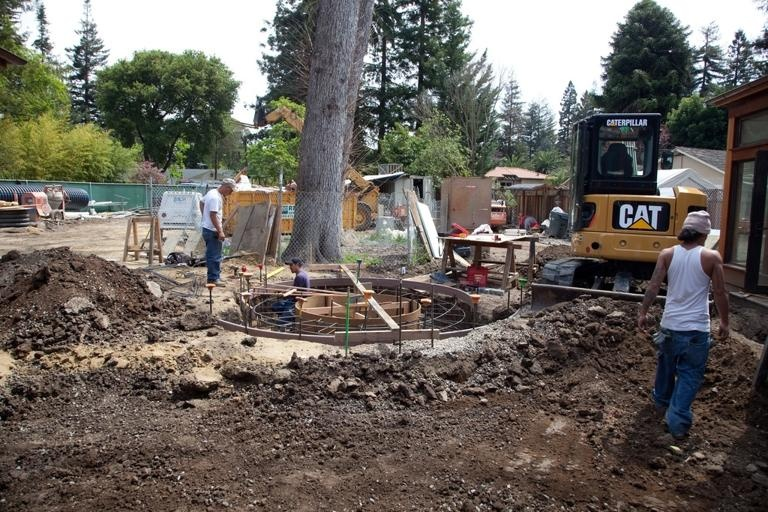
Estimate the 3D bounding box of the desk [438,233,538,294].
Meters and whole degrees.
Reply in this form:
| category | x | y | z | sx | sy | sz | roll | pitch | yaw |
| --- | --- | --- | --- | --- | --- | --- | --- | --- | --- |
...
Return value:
| category | x | y | z | sx | sy | sz | roll | pitch | yaw |
| --- | --- | --- | --- | --- | --- | --- | --- | --- | --- |
| desk | 2.309 | -0.070 | 14.553 | 1.569 | 1.047 | 1.601 | 1 | 1 | 42 |

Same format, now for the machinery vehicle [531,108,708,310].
| category | x | y | z | sx | sy | sz | roll | pitch | yaw |
| --- | --- | --- | --- | --- | --- | --- | --- | --- | --- |
| machinery vehicle | 4.229 | -0.785 | 11.414 | 3.046 | 3.247 | 2.101 | 4 | -5 | 23 |

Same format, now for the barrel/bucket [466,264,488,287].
| category | x | y | z | sx | sy | sz | roll | pitch | yaw |
| --- | --- | --- | --- | --- | --- | --- | --- | --- | --- |
| barrel/bucket | 2.026 | 0.448 | 14.212 | 0.423 | 0.450 | 0.761 | 3 | 5 | 17 |

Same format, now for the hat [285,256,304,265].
| category | x | y | z | sx | sy | sz | roll | pitch | yaw |
| --- | --- | --- | --- | --- | --- | --- | --- | --- | --- |
| hat | -2.071 | 0.083 | 14.753 | 0.378 | 0.137 | 0.428 | 1 | -1 | -2 |

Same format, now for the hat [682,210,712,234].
| category | x | y | z | sx | sy | sz | roll | pitch | yaw |
| --- | --- | --- | --- | --- | --- | --- | --- | --- | --- |
| hat | 3.829 | -0.411 | 7.947 | 0.250 | 0.307 | 0.359 | 7 | 9 | -1 |

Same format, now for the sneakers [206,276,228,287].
| category | x | y | z | sx | sy | sz | roll | pitch | yaw |
| --- | --- | --- | --- | --- | --- | --- | --- | --- | --- |
| sneakers | -3.199 | 0.491 | 12.231 | 0.493 | 0.227 | 0.213 | 2 | 5 | -24 |

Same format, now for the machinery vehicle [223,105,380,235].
| category | x | y | z | sx | sy | sz | roll | pitch | yaw |
| --- | --- | --- | --- | --- | --- | --- | --- | --- | --- |
| machinery vehicle | -2.560 | -3.077 | 21.645 | 3.991 | 4.465 | 10.350 | 2 | 4 | 5 |

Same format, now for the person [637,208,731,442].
| category | x | y | z | sx | sy | sz | roll | pitch | yaw |
| --- | --- | --- | --- | --- | --- | --- | --- | --- | --- |
| person | 3.659 | 0.822 | 7.853 | 0.978 | 2.732 | 0.530 | 3 | 5 | 22 |

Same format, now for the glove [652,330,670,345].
| category | x | y | z | sx | sy | sz | roll | pitch | yaw |
| --- | --- | --- | --- | --- | --- | --- | --- | --- | --- |
| glove | 3.450 | 1.010 | 8.011 | 0.137 | 0.255 | 0.178 | 2 | 5 | 31 |

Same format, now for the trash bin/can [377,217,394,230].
| category | x | y | z | sx | sy | sz | roll | pitch | yaw |
| --- | --- | --- | --- | --- | --- | --- | --- | --- | --- |
| trash bin/can | 0.037 | -1.109 | 21.494 | 0.450 | 0.472 | 0.473 | -1 | -6 | 1 |

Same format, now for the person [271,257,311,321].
| category | x | y | z | sx | sy | sz | roll | pitch | yaw |
| --- | --- | --- | --- | --- | --- | --- | --- | --- | --- |
| person | -1.782 | 0.677 | 12.112 | 0.654 | 1.246 | 1.706 | 1 | 4 | -10 |
